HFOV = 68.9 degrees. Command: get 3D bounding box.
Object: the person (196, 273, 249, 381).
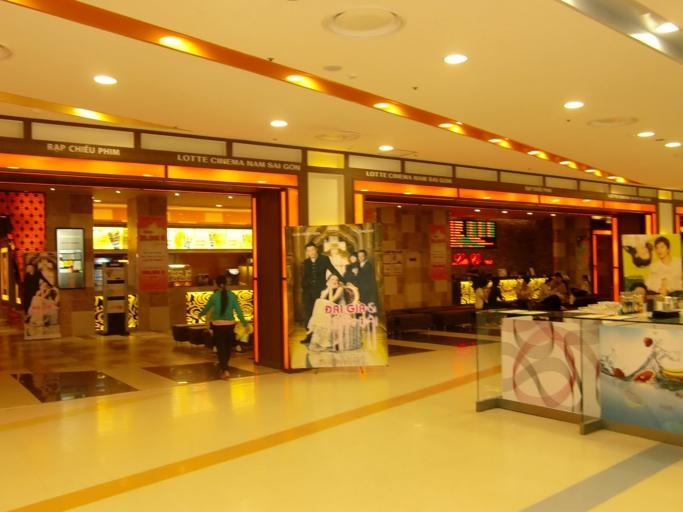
[{"bbox_3d":[-1.963,1.175,8.461,0.693,1.320,0.978,-1,0,-15],"label":"person"}]
